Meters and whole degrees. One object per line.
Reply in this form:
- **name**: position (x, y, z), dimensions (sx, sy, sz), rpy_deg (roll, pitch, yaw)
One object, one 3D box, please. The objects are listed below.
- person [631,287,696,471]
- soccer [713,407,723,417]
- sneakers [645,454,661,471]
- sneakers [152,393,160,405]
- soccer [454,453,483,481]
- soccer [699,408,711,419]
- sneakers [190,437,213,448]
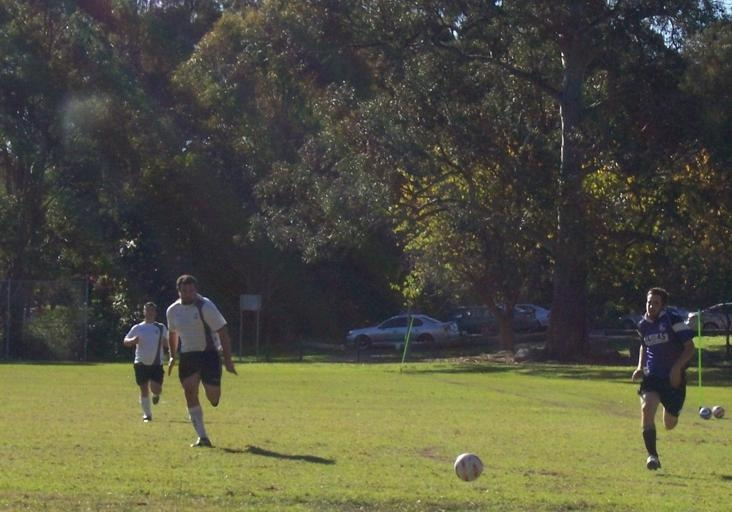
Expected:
- **person**: position (6.801, 2.850, 26.750), dimensions (1.241, 4.230, 0.912), rpy_deg (2, -14, 8)
- **soccer**: position (9.169, 4.078, 30.235), dimensions (0.234, 0.261, 0.230), rpy_deg (6, -3, -24)
- **sneakers**: position (6.430, 4.651, 26.031), dimensions (0.157, 0.214, 0.476), rpy_deg (-2, -41, 9)
- **sneakers**: position (-5.344, 3.738, 30.044), dimensions (0.175, 0.310, 0.302), rpy_deg (2, -23, -22)
- **soccer**: position (2.240, 4.606, 25.171), dimensions (0.513, 0.454, 0.552), rpy_deg (0, 4, 1)
- **soccer**: position (8.821, 4.108, 30.214), dimensions (0.248, 0.308, 0.245), rpy_deg (12, 1, -40)
- **sneakers**: position (-3.764, 4.280, 26.645), dimensions (0.424, 0.192, 0.223), rpy_deg (1, -6, 27)
